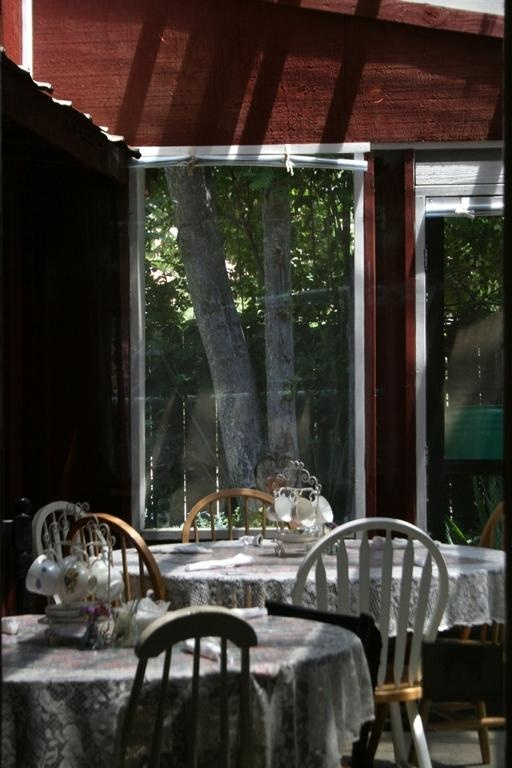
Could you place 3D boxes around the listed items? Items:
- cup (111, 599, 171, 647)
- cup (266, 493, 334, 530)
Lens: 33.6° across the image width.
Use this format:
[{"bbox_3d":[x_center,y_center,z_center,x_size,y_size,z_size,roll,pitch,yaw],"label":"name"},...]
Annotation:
[{"bbox_3d":[-0.214,0.434,1.578,0.084,0.105,0.056,-10,-4,-24],"label":"cup"},{"bbox_3d":[0.140,0.378,2.565,0.070,0.132,0.159,-3,-2,38],"label":"cup"}]
